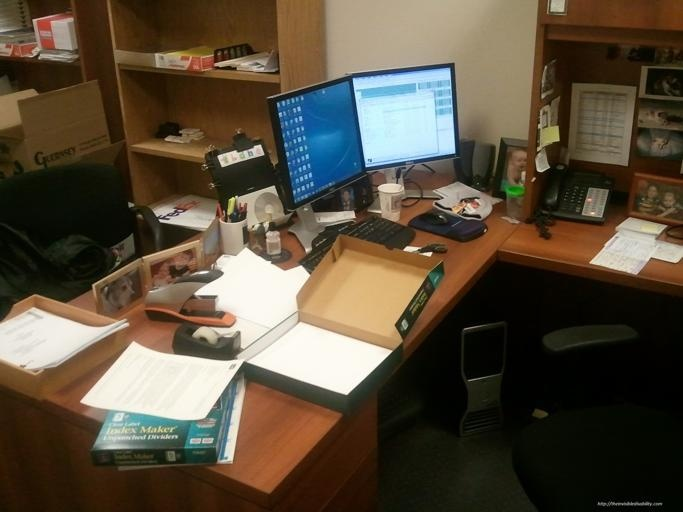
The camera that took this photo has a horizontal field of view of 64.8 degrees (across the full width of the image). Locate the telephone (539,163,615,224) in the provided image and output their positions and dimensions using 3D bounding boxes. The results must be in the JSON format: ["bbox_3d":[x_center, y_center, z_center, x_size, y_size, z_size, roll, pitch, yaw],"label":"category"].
[{"bbox_3d":[1.063,-0.274,2.419,0.263,0.111,0.293,13,60,23],"label":"telephone"}]

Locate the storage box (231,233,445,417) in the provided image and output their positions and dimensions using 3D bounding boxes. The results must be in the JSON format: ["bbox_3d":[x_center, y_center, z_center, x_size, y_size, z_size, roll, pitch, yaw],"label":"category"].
[{"bbox_3d":[0.014,0.159,1.631,0.376,0.199,0.577,14,31,31],"label":"storage box"}]

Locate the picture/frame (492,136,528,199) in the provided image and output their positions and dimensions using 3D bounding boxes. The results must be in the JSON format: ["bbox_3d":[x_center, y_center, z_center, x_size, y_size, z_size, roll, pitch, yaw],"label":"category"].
[{"bbox_3d":[0.792,-0.409,2.512,0.032,0.300,0.239,-1,23,-27],"label":"picture/frame"}]

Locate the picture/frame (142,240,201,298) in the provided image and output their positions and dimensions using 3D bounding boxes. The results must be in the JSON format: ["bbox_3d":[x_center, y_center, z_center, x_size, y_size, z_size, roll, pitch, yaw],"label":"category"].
[{"bbox_3d":[-0.578,0.038,1.890,0.270,0.180,0.009,-22,53,-31],"label":"picture/frame"}]

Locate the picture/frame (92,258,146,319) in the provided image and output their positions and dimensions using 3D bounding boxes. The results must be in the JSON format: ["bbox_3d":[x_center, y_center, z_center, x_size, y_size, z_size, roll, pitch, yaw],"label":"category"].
[{"bbox_3d":[-0.753,0.115,1.825,0.012,0.116,0.166,10,37,25],"label":"picture/frame"}]

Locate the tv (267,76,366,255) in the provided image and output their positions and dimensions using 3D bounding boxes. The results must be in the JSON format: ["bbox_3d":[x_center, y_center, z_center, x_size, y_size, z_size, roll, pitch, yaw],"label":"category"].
[{"bbox_3d":[-0.133,-0.408,2.315,0.272,0.648,0.559,18,30,31],"label":"tv"}]

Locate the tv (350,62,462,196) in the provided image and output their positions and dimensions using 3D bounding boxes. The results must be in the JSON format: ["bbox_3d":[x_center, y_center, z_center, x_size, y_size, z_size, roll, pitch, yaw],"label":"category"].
[{"bbox_3d":[0.301,-0.599,2.509,0.595,0.599,0.197,-11,19,-13],"label":"tv"}]

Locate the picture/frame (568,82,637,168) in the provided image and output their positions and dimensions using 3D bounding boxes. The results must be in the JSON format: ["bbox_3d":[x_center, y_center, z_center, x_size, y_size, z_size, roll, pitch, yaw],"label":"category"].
[{"bbox_3d":[1.197,-0.613,2.483,0.271,0.363,0.008,18,40,40],"label":"picture/frame"}]

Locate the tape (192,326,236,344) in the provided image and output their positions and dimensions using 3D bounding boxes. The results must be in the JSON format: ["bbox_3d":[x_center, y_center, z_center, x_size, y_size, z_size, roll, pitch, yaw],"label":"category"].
[{"bbox_3d":[-0.388,0.229,1.613,0.080,0.025,0.062,8,24,10],"label":"tape"}]
